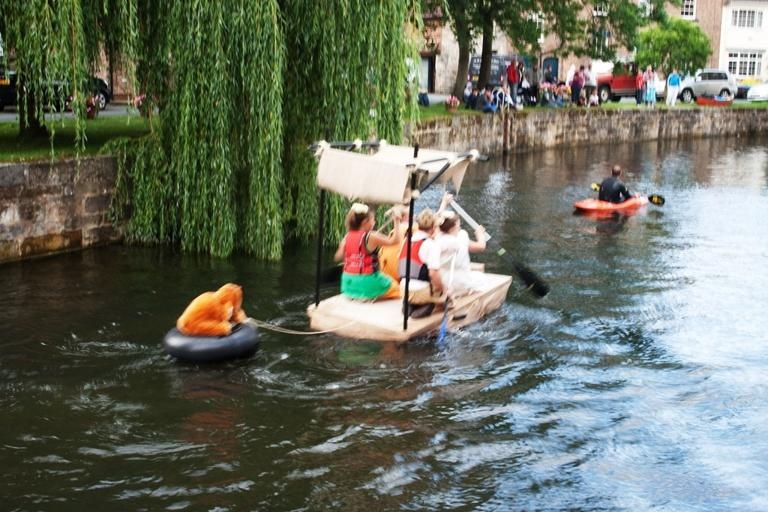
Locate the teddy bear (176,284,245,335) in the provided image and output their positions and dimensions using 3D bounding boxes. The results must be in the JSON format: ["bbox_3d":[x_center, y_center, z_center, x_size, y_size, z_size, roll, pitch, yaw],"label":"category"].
[{"bbox_3d":[-2.651,0.806,14.686,0.879,0.623,0.682,-23,30,-12],"label":"teddy bear"}]

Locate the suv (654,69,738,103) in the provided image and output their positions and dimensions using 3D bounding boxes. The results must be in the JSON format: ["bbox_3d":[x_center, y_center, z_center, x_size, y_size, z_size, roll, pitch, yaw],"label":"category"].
[{"bbox_3d":[17.256,-9.449,53.516,4.421,1.955,2.189,-1,9,-10],"label":"suv"}]

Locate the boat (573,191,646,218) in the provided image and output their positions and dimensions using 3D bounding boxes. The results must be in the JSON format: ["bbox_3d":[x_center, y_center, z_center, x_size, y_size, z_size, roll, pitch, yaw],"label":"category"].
[{"bbox_3d":[5.712,-1.274,24.271,1.902,0.338,1.152,-1,14,-10],"label":"boat"}]

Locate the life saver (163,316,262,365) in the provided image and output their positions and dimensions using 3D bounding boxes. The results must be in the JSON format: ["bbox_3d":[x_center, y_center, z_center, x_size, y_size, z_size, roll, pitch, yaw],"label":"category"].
[{"bbox_3d":[-2.667,1.314,15.330,1.664,0.563,1.758,-7,2,-16],"label":"life saver"}]

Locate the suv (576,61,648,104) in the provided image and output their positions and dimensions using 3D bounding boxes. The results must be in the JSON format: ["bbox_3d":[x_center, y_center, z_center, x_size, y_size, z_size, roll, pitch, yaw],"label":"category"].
[{"bbox_3d":[11.723,-9.052,49.042,3.475,2.191,2.254,0,8,-6],"label":"suv"}]
